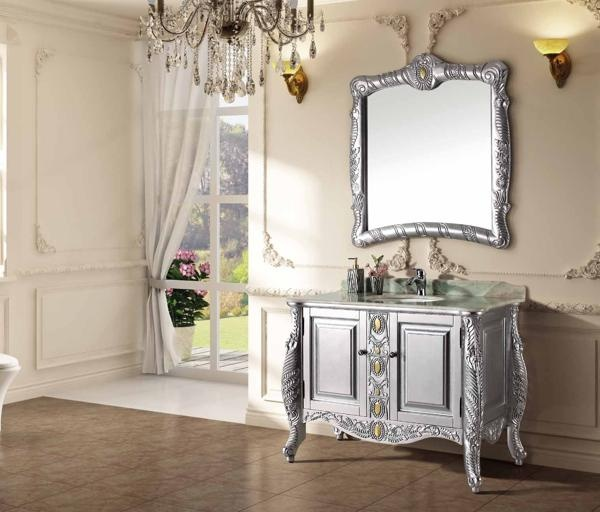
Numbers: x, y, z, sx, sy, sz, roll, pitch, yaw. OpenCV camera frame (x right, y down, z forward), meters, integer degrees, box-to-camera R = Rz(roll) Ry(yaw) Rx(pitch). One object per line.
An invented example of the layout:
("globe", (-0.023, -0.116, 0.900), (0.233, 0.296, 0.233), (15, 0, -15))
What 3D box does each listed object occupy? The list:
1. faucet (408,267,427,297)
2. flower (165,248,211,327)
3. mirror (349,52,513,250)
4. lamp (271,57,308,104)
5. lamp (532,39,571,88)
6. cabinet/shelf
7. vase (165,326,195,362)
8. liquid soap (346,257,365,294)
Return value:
("faucet", (0.694, 0.148, 3.421), (0.099, 0.167, 0.371), (2, -2, 13))
("flower", (-1.042, 0.271, 5.539), (0.475, 0.654, 0.491), (13, 16, 18))
("mirror", (0.823, -0.635, 3.483), (1.211, 1.365, 0.110), (0, 1, 27))
("lamp", (-0.070, -1.154, 3.872), (0.180, 0.259, 0.168), (-6, 14, -37))
("lamp", (1.366, -1.069, 3.135), (0.189, 0.286, 0.179), (1, -3, 24))
("cabinet/shelf", (0.550, 0.629, 3.295), (0.489, 0.719, 1.199), (2, -5, -45))
("vase", (-1.101, 0.806, 5.325), (0.271, 0.273, 0.284), (-2, -3, 41))
("liquid soap", (0.334, 0.121, 3.569), (0.104, 0.219, 0.090), (-1, -6, 17))
